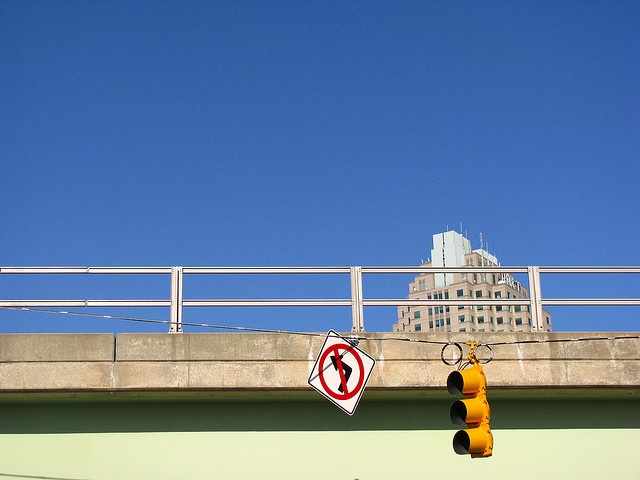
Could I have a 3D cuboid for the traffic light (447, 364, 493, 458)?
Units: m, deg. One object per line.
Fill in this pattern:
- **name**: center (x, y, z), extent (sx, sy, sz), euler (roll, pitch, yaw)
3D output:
- **traffic light**: center (1.819, 2.035, 12.798), extent (0.480, 1.168, 0.505), euler (-10, -27, 20)
